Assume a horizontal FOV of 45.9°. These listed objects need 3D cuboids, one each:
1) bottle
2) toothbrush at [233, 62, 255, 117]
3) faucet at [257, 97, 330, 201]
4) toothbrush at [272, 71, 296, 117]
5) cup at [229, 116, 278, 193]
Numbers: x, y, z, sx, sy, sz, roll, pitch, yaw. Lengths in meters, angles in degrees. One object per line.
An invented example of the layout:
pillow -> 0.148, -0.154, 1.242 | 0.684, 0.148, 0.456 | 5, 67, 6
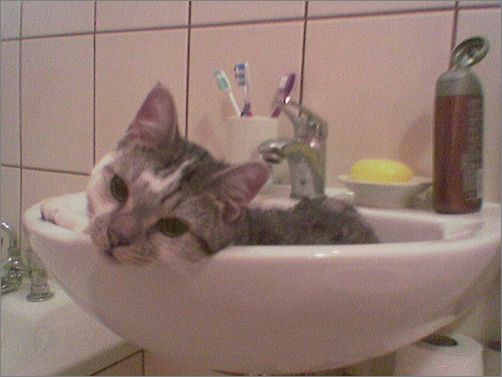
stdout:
bottle -> 0.371, -0.110, 1.065 | 0.082, 0.302, 0.095 | 3, 3, 15
toothbrush -> -0.014, -0.203, 1.251 | 0.035, 0.128, 0.024 | 1, 39, 5
faucet -> 0.076, -0.068, 1.130 | 0.122, 0.214, 0.104 | 9, 15, 33
toothbrush -> 0.068, -0.193, 1.209 | 0.037, 0.082, 0.062 | 6, 16, 16
cup -> -0.001, -0.066, 1.170 | 0.111, 0.150, 0.121 | 1, 0, 0
